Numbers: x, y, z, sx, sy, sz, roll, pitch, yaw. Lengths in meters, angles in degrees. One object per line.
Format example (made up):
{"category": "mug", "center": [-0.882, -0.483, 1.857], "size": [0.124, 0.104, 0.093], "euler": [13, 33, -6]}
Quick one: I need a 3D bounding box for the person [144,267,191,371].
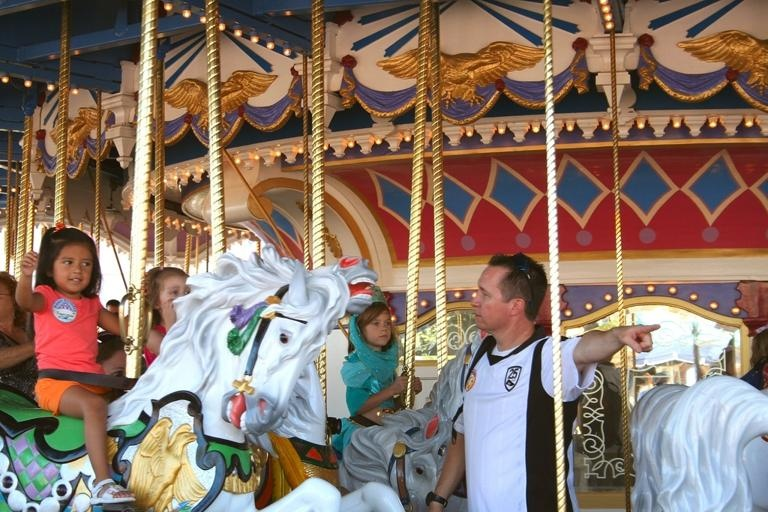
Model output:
{"category": "person", "center": [-1.507, 0.355, 6.215], "size": [0.286, 0.684, 0.808], "euler": [9, -20, -14]}

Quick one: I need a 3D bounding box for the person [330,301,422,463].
{"category": "person", "center": [-0.063, 0.931, 6.779], "size": [0.571, 1.201, 0.720], "euler": [3, -19, 3]}

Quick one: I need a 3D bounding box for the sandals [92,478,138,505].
{"category": "sandals", "center": [-1.496, 1.312, 5.054], "size": [0.224, 0.099, 0.121], "euler": [0, -9, 9]}

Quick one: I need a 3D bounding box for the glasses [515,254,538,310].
{"category": "glasses", "center": [0.876, 0.132, 5.540], "size": [0.124, 0.246, 0.199], "euler": [-5, -5, 16]}

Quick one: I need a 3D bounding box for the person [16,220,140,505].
{"category": "person", "center": [-1.881, 0.633, 5.507], "size": [0.890, 1.697, 0.575], "euler": [4, -19, -1]}
